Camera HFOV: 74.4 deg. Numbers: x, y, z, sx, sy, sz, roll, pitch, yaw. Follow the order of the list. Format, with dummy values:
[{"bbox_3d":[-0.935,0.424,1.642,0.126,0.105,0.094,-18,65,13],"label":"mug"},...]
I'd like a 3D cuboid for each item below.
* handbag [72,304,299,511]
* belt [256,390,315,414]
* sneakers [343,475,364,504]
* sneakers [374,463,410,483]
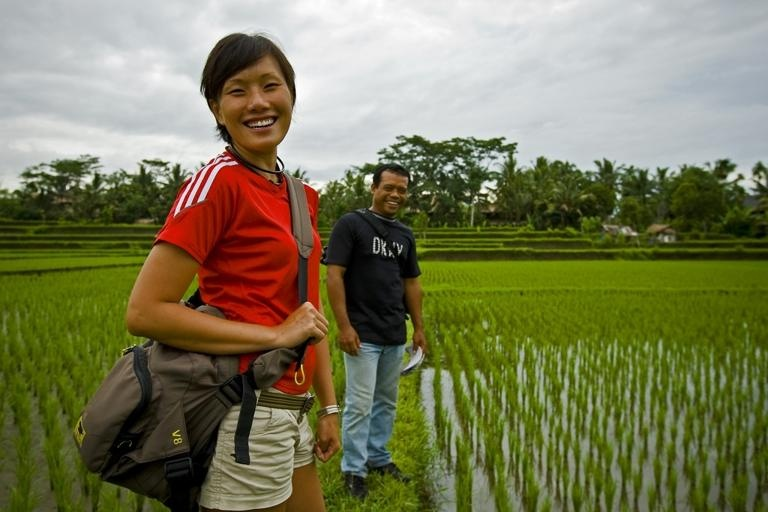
[{"bbox_3d":[-1.257,0.961,3.302,1.090,1.085,0.840,29,-12,-22],"label":"handbag"},{"bbox_3d":[-0.600,0.886,3.086,0.218,0.066,0.218,1,-10,3],"label":"belt"},{"bbox_3d":[-0.266,2.300,5.094,0.189,0.189,0.283,0,3,-32],"label":"sneakers"},{"bbox_3d":[0.093,2.310,5.398,0.444,0.196,0.151,-17,-16,38],"label":"sneakers"}]
